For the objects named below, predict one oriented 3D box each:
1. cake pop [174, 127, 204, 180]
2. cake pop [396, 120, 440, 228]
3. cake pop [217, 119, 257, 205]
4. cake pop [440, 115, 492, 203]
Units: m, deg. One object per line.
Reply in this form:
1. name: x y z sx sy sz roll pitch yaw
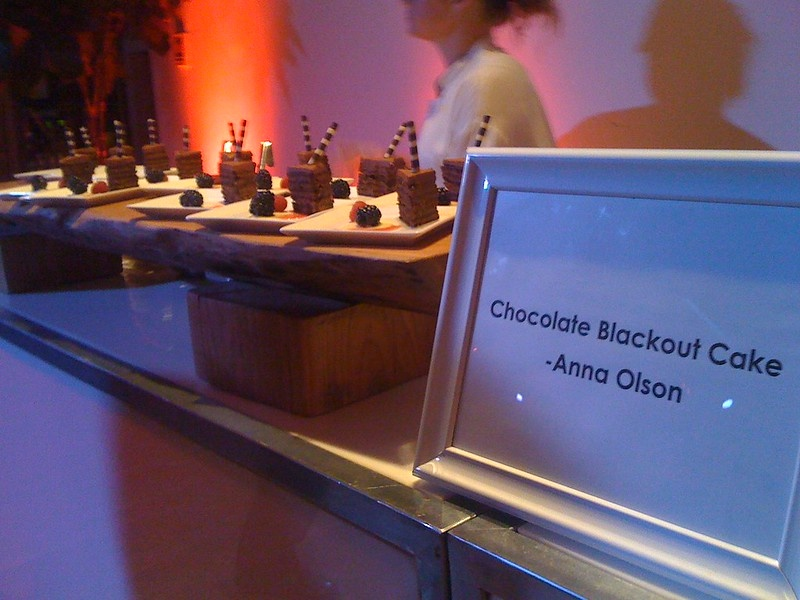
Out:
1. cake pop: -0.686 -0.479 1.854 0.104 0.149 0.098 11 20 31
2. cake pop: 0.032 -0.217 0.995 0.070 0.161 0.070 -31 29 -35
3. cake pop: -0.377 -0.313 1.347 0.065 0.189 0.075 15 33 13
4. cake pop: 0.141 -0.301 1.208 0.087 0.148 0.095 25 20 7
